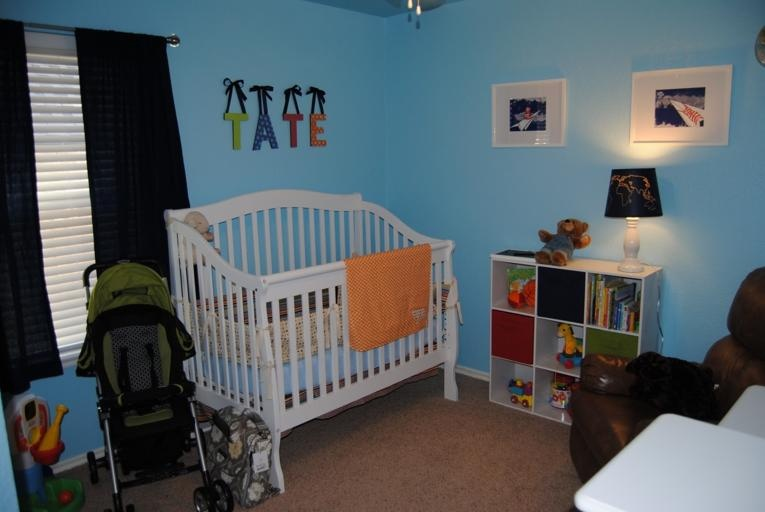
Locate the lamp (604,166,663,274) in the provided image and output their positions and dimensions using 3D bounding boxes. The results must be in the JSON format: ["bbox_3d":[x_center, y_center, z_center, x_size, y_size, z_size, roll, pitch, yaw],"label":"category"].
[{"bbox_3d":[1.667,-0.254,3.830,0.335,0.662,0.333,4,15,24],"label":"lamp"}]

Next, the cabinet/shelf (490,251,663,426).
[{"bbox_3d":[1.321,0.587,4.135,1.064,1.106,0.390,6,13,33],"label":"cabinet/shelf"}]

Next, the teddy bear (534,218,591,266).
[{"bbox_3d":[1.293,-0.106,4.069,0.458,0.280,0.215,-13,18,-41],"label":"teddy bear"}]

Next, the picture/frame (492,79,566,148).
[{"bbox_3d":[1.115,-1.068,4.293,0.514,0.429,0.042,5,11,38],"label":"picture/frame"}]

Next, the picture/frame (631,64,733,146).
[{"bbox_3d":[1.975,-0.983,3.729,0.542,0.470,0.025,4,7,33],"label":"picture/frame"}]

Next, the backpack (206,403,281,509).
[{"bbox_3d":[-0.819,1.182,3.391,0.309,0.530,0.545,-6,6,-44],"label":"backpack"}]

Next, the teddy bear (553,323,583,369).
[{"bbox_3d":[1.367,0.633,4.176,0.215,0.318,0.197,-2,4,-17],"label":"teddy bear"}]

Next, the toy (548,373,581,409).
[{"bbox_3d":[1.311,0.968,4.233,0.157,0.249,0.169,1,10,-8],"label":"toy"}]

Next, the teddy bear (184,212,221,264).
[{"bbox_3d":[-1.190,-0.123,3.723,0.226,0.362,0.280,-2,12,-2],"label":"teddy bear"}]

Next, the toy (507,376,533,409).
[{"bbox_3d":[1.065,1.014,4.335,0.194,0.194,0.160,6,6,36],"label":"toy"}]
